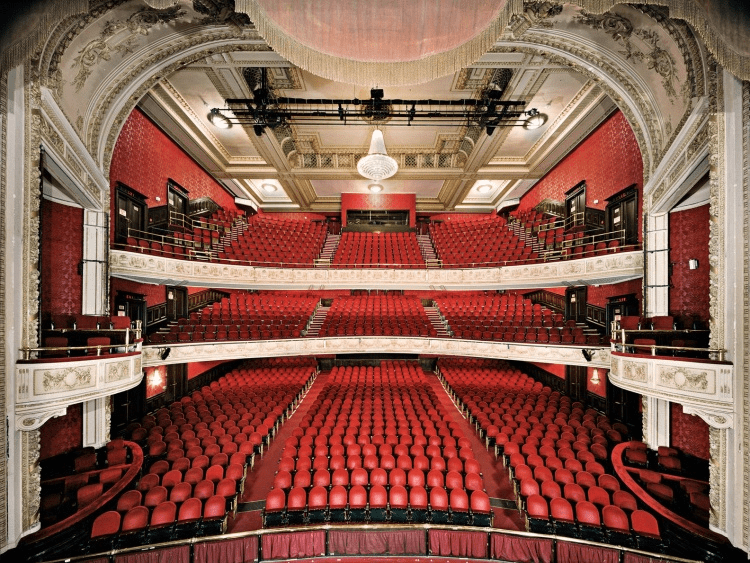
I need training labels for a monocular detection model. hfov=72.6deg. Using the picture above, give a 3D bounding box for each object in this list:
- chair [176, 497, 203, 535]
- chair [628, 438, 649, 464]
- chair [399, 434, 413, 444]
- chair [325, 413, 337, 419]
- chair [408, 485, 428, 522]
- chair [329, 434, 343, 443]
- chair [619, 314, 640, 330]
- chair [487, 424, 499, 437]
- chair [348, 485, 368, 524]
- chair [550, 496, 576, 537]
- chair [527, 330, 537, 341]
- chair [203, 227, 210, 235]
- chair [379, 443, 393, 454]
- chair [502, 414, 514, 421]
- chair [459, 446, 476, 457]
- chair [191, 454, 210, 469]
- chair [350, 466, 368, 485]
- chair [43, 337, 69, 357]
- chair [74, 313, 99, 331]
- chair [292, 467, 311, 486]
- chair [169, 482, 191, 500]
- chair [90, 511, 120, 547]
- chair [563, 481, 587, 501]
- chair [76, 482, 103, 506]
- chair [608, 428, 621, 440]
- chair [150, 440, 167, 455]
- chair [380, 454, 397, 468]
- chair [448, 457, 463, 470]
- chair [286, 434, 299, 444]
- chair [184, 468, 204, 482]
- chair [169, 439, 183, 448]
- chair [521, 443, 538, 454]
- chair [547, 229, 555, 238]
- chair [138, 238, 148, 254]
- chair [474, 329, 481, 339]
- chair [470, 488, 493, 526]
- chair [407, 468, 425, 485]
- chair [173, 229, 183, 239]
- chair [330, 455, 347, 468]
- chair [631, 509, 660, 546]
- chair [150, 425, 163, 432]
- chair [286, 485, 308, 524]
[{"bbox_3d":[-3.499,4.468,9.710,0.439,0.496,0.443,-2,9,-21],"label":"chair"},{"bbox_3d":[5.759,3.781,11.251,0.365,0.476,0.405,-7,-32,25],"label":"chair"},{"bbox_3d":[0.728,3.643,11.737,0.212,0.103,0.211,3,-6,-11],"label":"chair"},{"bbox_3d":[-1.097,3.385,12.740,0.127,0.109,0.128,4,-3,23],"label":"chair"},{"bbox_3d":[0.859,4.389,10.078,0.332,0.535,0.372,2,9,3],"label":"chair"},{"bbox_3d":[-0.898,3.616,11.648,0.192,0.128,0.192,2,0,15],"label":"chair"},{"bbox_3d":[5.477,0.905,10.994,0.352,0.282,0.354,3,6,27],"label":"chair"},{"bbox_3d":[2.845,3.624,12.310,0.233,0.214,0.234,1,0,16],"label":"chair"},{"bbox_3d":[-0.338,4.409,10.001,0.461,0.779,0.443,1,-18,-4],"label":"chair"},{"bbox_3d":[3.572,4.478,9.755,0.427,0.508,0.395,3,9,15],"label":"chair"},{"bbox_3d":[4.304,1.540,14.023,0.184,0.229,0.218,-3,-24,13],"label":"chair"},{"bbox_3d":[-5.312,-1.559,16.173,0.141,0.160,0.360,4,8,17],"label":"chair"},{"bbox_3d":[0.242,3.774,11.456,0.279,0.190,0.206,1,8,-1],"label":"chair"},{"bbox_3d":[3.339,3.437,12.834,0.167,0.143,0.166,-4,5,-25],"label":"chair"},{"bbox_3d":[2.009,3.778,11.250,0.225,0.208,0.225,-1,2,8],"label":"chair"},{"bbox_3d":[-3.746,3.871,10.972,0.225,0.270,0.253,7,-25,-5],"label":"chair"},{"bbox_3d":[-0.326,3.999,10.455,0.303,0.259,0.301,-5,3,1],"label":"chair"},{"bbox_3d":[-5.948,1.296,9.562,0.397,0.372,0.895,-4,10,-33],"label":"chair"},{"bbox_3d":[-5.981,0.864,10.653,0.317,0.440,0.370,7,-19,-31],"label":"chair"},{"bbox_3d":[-1.482,4.055,10.499,0.328,0.241,0.288,0,8,-9],"label":"chair"},{"bbox_3d":[-3.849,4.177,10.140,0.396,0.280,0.283,-1,9,-18],"label":"chair"},{"bbox_3d":[-4.893,4.496,9.303,0.489,0.449,0.360,-2,9,-19],"label":"chair"},{"bbox_3d":[3.959,4.195,10.140,0.402,0.274,0.242,4,9,17],"label":"chair"},{"bbox_3d":[-5.513,4.137,9.930,0.328,0.413,0.351,5,-31,-22],"label":"chair"},{"bbox_3d":[5.607,3.610,11.967,0.189,0.228,0.129,-17,-32,-20],"label":"chair"},{"bbox_3d":[-4.800,3.723,11.370,0.206,0.238,0.266,0,20,1],"label":"chair"},{"bbox_3d":[0.281,3.913,11.058,0.244,0.164,0.244,4,1,6],"label":"chair"},{"bbox_3d":[1.690,3.897,10.838,0.233,0.200,0.234,0,0,24],"label":"chair"},{"bbox_3d":[-1.856,3.651,11.759,0.162,0.156,0.161,13,2,8],"label":"chair"},{"bbox_3d":[-3.730,3.994,10.548,0.334,0.211,0.252,-2,9,-21],"label":"chair"},{"bbox_3d":[-4.447,3.665,11.436,0.144,0.180,0.194,3,23,6],"label":"chair"},{"bbox_3d":[3.463,3.766,11.466,0.241,0.211,0.332,-5,10,-38],"label":"chair"},{"bbox_3d":[5.558,-1.498,16.116,0.328,0.234,0.330,-3,3,28],"label":"chair"},{"bbox_3d":[-5.828,-0.894,12.861,0.232,0.362,0.569,-3,9,-24],"label":"chair"},{"bbox_3d":[3.049,1.587,15.116,0.208,0.198,0.191,4,8,-7],"label":"chair"},{"bbox_3d":[2.043,4.403,9.935,0.391,0.522,0.400,1,9,0],"label":"chair"},{"bbox_3d":[0.848,4.057,10.522,0.339,0.257,0.346,-4,10,-31],"label":"chair"},{"bbox_3d":[-5.569,-1.300,14.469,0.161,0.254,0.533,0,8,-4],"label":"chair"},{"bbox_3d":[-0.787,3.871,10.921,0.249,0.175,0.246,4,-4,-28],"label":"chair"},{"bbox_3d":[4.935,4.552,9.359,0.401,0.689,0.423,-1,-25,4],"label":"chair"},{"bbox_3d":[-5.138,3.520,12.102,0.142,0.148,0.140,7,28,-2],"label":"chair"},{"bbox_3d":[-1.525,4.381,9.977,0.379,0.489,0.443,0,8,-7],"label":"chair"}]
